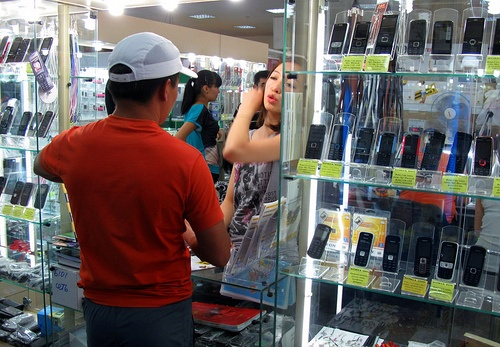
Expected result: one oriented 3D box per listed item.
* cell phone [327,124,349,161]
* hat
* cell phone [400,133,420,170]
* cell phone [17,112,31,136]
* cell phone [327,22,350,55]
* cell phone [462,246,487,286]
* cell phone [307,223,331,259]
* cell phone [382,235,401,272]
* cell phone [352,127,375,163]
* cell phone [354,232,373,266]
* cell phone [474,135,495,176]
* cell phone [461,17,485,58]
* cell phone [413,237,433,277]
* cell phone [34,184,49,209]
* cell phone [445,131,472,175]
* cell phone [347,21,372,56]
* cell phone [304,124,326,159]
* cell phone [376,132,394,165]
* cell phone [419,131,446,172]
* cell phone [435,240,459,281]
[{"bbox_3d":[0.416,-0.149,1.753,0.085,0.165,0.130,2,6,14],"label":"cell phone"},{"bbox_3d":[-0.380,-0.471,1.480,0.244,0.173,0.354,12,24,28],"label":"hat"},{"bbox_3d":[0.723,-0.106,1.681,0.070,0.153,0.139,4,7,25],"label":"cell phone"},{"bbox_3d":[-1.668,-0.371,2.783,0.049,0.186,0.043,25,-4,9],"label":"cell phone"},{"bbox_3d":[0.404,-0.618,1.705,0.083,0.148,0.047,2,6,14],"label":"cell phone"},{"bbox_3d":[0.969,0.402,1.616,0.069,0.159,0.100,6,8,39],"label":"cell phone"},{"bbox_3d":[0.335,0.327,1.795,0.073,0.152,0.108,5,8,37],"label":"cell phone"},{"bbox_3d":[0.649,0.368,1.707,0.069,0.153,0.088,4,7,26],"label":"cell phone"},{"bbox_3d":[0.526,-0.131,1.730,0.074,0.161,0.095,4,7,31],"label":"cell phone"},{"bbox_3d":[0.528,0.351,1.732,0.072,0.140,0.099,3,7,23],"label":"cell phone"},{"bbox_3d":[0.994,-0.076,1.592,0.065,0.165,0.077,5,7,34],"label":"cell phone"},{"bbox_3d":[0.942,-0.584,1.574,0.071,0.168,0.075,5,7,35],"label":"cell phone"},{"bbox_3d":[0.777,0.374,1.673,0.067,0.157,0.115,4,7,25],"label":"cell phone"},{"bbox_3d":[-1.420,0.163,2.566,0.114,0.168,0.049,3,-11,27],"label":"cell phone"},{"bbox_3d":[0.917,-0.094,1.634,0.081,0.172,0.113,5,8,34],"label":"cell phone"},{"bbox_3d":[0.484,-0.601,1.645,0.082,0.155,0.074,3,7,21],"label":"cell phone"},{"bbox_3d":[0.308,-0.150,1.748,0.090,0.160,0.102,2,6,9],"label":"cell phone"},{"bbox_3d":[0.621,-0.095,1.711,0.077,0.207,0.027,8,-13,20],"label":"cell phone"},{"bbox_3d":[0.818,-0.108,1.666,0.088,0.177,0.135,4,7,28],"label":"cell phone"},{"bbox_3d":[0.866,0.385,1.641,0.074,0.150,0.108,4,7,30],"label":"cell phone"}]
